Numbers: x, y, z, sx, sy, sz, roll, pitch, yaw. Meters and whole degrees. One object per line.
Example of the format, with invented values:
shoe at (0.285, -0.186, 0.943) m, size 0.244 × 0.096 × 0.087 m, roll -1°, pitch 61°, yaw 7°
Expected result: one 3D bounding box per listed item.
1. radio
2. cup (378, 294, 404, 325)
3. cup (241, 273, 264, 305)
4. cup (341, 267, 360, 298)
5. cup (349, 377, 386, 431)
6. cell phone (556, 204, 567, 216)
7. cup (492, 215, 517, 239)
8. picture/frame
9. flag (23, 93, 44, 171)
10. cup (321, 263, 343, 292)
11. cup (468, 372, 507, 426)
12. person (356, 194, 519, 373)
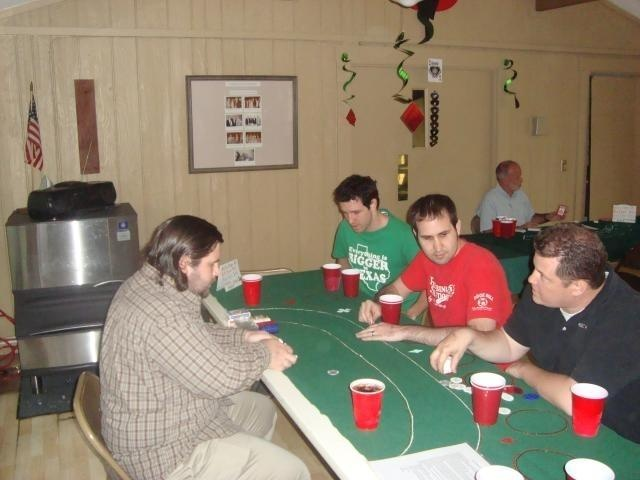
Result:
radio at (-1.945, -0.364, 4.144) m, size 0.197 × 0.265 × 0.714 m, roll -3°, pitch 13°, yaw 25°
cup at (0.373, 0.357, 2.740) m, size 0.128 × 0.157 × 0.138 m, roll 0°, pitch 8°, yaw 0°
cup at (-0.403, 0.271, 3.131) m, size 0.145 × 0.183 × 0.152 m, roll 0°, pitch 22°, yaw 0°
cup at (0.187, 0.260, 3.170) m, size 0.132 × 0.170 × 0.148 m, roll -1°, pitch 3°, yaw 3°
cup at (0.191, 0.616, 1.987) m, size 0.148 × 0.171 × 0.161 m, roll 0°, pitch 3°, yaw 0°
cell phone at (2.325, -0.297, 4.975) m, size 0.085 × 0.128 × 0.084 m, roll 8°, pitch 10°, yaw 41°
cup at (1.736, -0.121, 4.851) m, size 0.158 × 0.210 × 0.216 m, roll -5°, pitch 8°, yaw -31°
picture/frame at (-0.809, -1.184, 5.067) m, size 0.885 × 0.808 × 0.071 m, roll -3°, pitch 11°, yaw -19°
flag at (-2.513, -0.963, 4.514) m, size 0.150 × 0.662 × 0.078 m, roll -4°, pitch 10°, yaw -24°
cup at (0.079, 0.230, 3.368) m, size 0.142 × 0.175 × 0.147 m, roll -1°, pitch 14°, yaw 0°
cup at (0.646, 0.607, 1.990) m, size 0.115 × 0.188 × 0.158 m, roll 5°, pitch 11°, yaw 29°
person at (0.519, 0.184, 2.833) m, size 0.857 × 0.839 × 0.711 m, roll -23°, pitch 20°, yaw -25°
